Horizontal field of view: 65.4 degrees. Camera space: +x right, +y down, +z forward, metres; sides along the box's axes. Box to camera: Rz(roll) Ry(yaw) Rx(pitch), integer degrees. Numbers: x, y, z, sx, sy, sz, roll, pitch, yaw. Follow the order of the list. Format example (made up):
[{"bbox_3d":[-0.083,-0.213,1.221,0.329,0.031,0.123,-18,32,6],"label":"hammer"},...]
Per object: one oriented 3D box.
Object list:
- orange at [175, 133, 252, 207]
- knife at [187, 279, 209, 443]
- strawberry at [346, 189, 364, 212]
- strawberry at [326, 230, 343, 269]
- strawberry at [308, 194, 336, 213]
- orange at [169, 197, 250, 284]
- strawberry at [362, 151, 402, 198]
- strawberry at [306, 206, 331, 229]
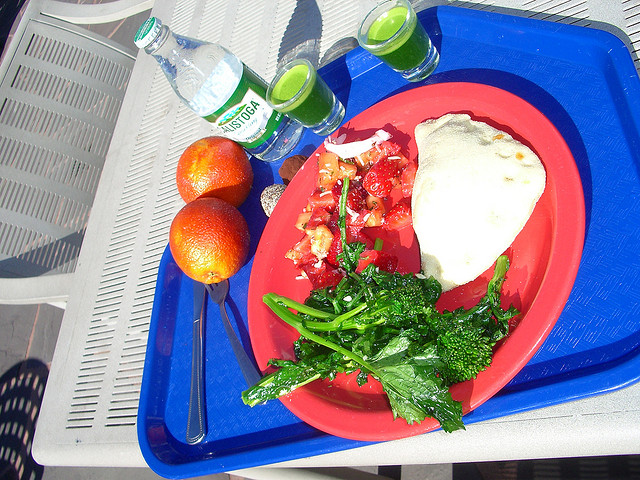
[{"bbox_3d":[-0.426,-0.281,2.079,0.290,0.296,0.316,9,102,26],"label":"orange"},{"bbox_3d":[-0.477,0.491,1.961,0.073,0.035,0.774,-8,80,29],"label":"knife"},{"bbox_3d":[0.131,-0.148,1.883,0.038,0.077,0.073,-23,10,45],"label":"strawberry"},{"bbox_3d":[0.053,0.034,1.844,0.032,0.084,0.120,17,97,38],"label":"strawberry"},{"bbox_3d":[0.009,-0.143,1.886,0.077,0.064,0.078,-4,78,4],"label":"strawberry"},{"bbox_3d":[-0.410,-0.003,2.000,0.331,0.369,0.324,-9,19,-20],"label":"orange"},{"bbox_3d":[0.221,-0.255,1.896,0.155,0.109,0.080,-63,27,-6],"label":"strawberry"},{"bbox_3d":[-0.007,-0.081,1.874,0.050,0.035,0.096,32,84,19],"label":"strawberry"}]
